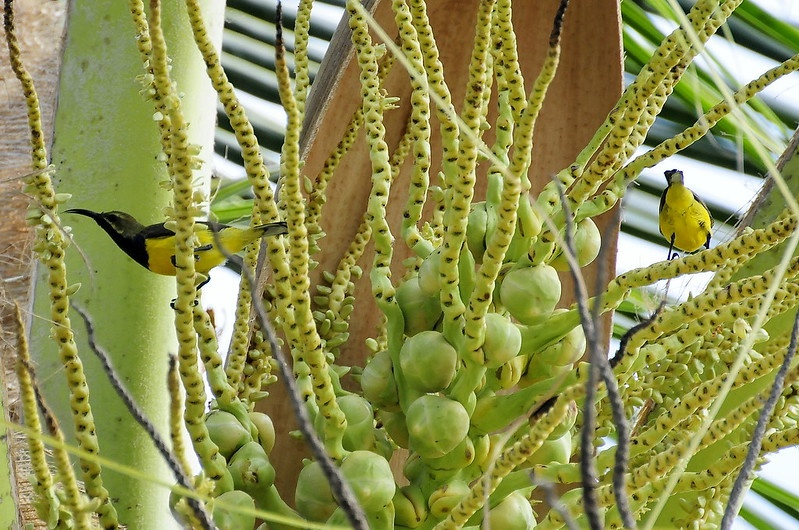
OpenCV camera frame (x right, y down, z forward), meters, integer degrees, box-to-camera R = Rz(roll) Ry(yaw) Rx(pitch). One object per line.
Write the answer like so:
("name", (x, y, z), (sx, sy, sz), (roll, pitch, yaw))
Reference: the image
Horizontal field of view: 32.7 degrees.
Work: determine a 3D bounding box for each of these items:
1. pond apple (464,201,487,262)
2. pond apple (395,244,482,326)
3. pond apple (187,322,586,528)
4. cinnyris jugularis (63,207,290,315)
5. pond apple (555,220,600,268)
("pond apple", (0.082, -0.037, 1.412), (0.024, 0.043, 0.032), (2, 9, 1))
("pond apple", (0.043, 0.030, 1.393), (0.042, 0.095, 0.057), (5, 17, -24))
("pond apple", (-0.003, 0.179, 1.361), (0.354, 0.243, 0.120), (17, 22, -15))
("cinnyris jugularis", (-0.230, -0.029, 1.457), (0.206, 0.066, 0.122), (-15, 65, -11))
("pond apple", (0.188, -0.018, 1.450), (0.030, 0.052, 0.043), (17, 0, 8))
